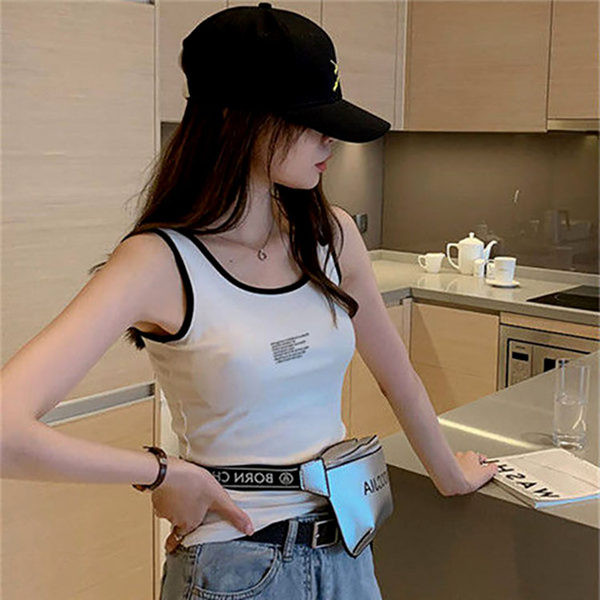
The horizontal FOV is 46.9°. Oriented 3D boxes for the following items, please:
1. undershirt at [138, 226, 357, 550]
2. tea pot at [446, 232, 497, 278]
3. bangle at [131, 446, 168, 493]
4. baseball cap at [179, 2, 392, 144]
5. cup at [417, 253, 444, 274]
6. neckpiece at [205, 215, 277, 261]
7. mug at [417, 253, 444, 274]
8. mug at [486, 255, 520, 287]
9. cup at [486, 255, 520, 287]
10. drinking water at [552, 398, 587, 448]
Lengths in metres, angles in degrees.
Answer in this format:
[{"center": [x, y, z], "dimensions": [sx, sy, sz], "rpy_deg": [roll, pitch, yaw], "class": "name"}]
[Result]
[{"center": [-0.059, 0.061, 0.938], "dimensions": [0.299, 0.322, 0.120], "rpy_deg": [-5, 12, -11], "class": "undershirt"}, {"center": [0.857, -0.224, 3.473], "dimensions": [0.317, 0.239, 0.165], "rpy_deg": [8, 10, 34], "class": "tea pot"}, {"center": [-0.197, 0.222, 0.921], "dimensions": [0.060, 0.058, 0.025], "rpy_deg": [0, -4, -6], "class": "bangle"}, {"center": [-0.036, -0.300, 0.920], "dimensions": [0.298, 0.141, 0.168], "rpy_deg": [6, 18, 12], "class": "baseball cap"}, {"center": [0.678, -0.193, 3.580], "dimensions": [0.192, 0.116, 0.107], "rpy_deg": [-2, 0, 7], "class": "cup"}, {"center": [-0.076, -0.085, 0.994], "dimensions": [0.027, 0.057, 0.104], "rpy_deg": [11, 25, 30], "class": "neckpiece"}, {"center": [0.677, -0.195, 3.580], "dimensions": [0.192, 0.116, 0.107], "rpy_deg": [-2, 0, 7], "class": "mug"}, {"center": [0.937, -0.128, 3.263], "dimensions": [0.198, 0.152, 0.122], "rpy_deg": [3, 7, 22], "class": "mug"}, {"center": [0.934, -0.129, 3.262], "dimensions": [0.198, 0.152, 0.122], "rpy_deg": [3, 7, 22], "class": "cup"}, {"center": [0.525, 0.238, 1.341], "dimensions": [0.057, 0.103, 0.034], "rpy_deg": [1, 13, 17], "class": "drinking water"}]
